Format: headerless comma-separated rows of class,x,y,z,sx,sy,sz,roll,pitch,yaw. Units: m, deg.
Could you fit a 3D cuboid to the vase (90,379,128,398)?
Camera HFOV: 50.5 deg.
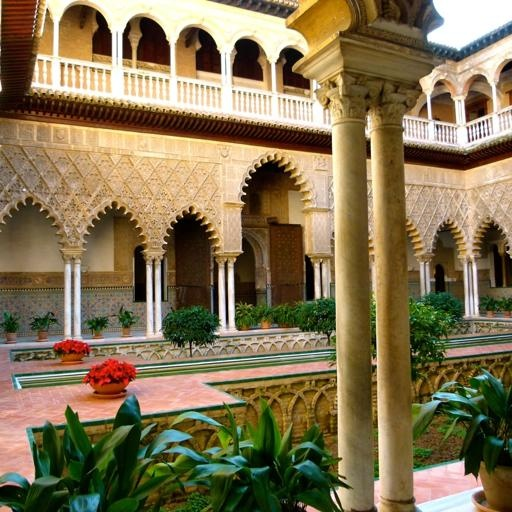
vase,-1.636,1.474,6.019,0.388,0.176,0.337,0,-6,-20

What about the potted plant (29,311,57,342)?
potted plant,-4.836,1.577,12.279,0.673,0.712,0.669,2,-1,-18

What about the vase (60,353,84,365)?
vase,-2.952,1.625,8.616,0.235,0.112,0.242,2,-9,2

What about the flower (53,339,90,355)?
flower,-2.923,1.444,8.614,0.325,0.185,0.332,-3,-8,37
